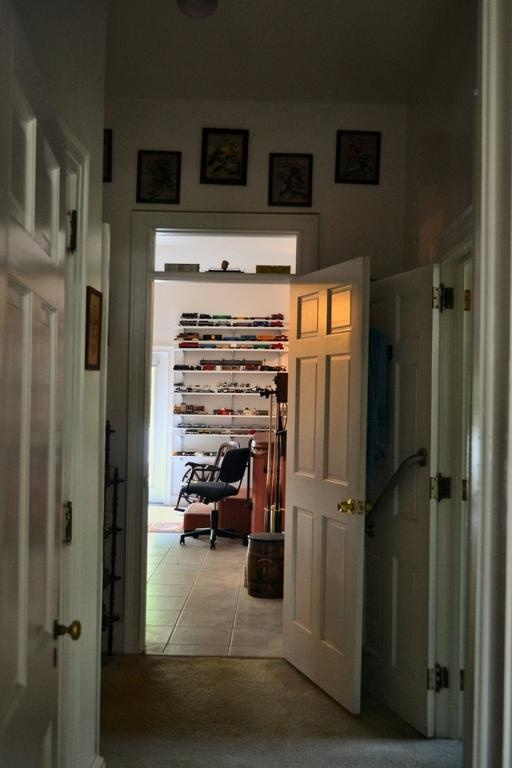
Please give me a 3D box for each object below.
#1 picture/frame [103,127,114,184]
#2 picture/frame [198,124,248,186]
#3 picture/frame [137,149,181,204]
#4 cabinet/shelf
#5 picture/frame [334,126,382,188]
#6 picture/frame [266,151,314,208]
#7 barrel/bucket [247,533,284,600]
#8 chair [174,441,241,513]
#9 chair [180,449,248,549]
[{"bbox_3d":[-0.816,-1.257,3.758,0.051,0.315,0.034,0,-2,9],"label":"picture/frame"},{"bbox_3d":[-0.175,-1.251,3.759,0.249,0.009,0.342,-3,-39,-9],"label":"picture/frame"},{"bbox_3d":[-0.531,-1.137,3.769,0.244,0.362,0.016,0,-23,-8],"label":"picture/frame"},{"bbox_3d":[-0.351,-0.126,8.599,1.193,1.812,0.456,0,-3,-2],"label":"cabinet/shelf"},{"bbox_3d":[0.564,-1.240,3.750,0.240,0.352,0.016,3,-20,7],"label":"picture/frame"},{"bbox_3d":[0.194,-1.129,3.764,0.230,0.021,0.322,1,-42,1],"label":"picture/frame"},{"bbox_3d":[0.083,1.255,4.775,0.300,0.408,0.339,1,0,-5],"label":"barrel/bucket"},{"bbox_3d":[-0.599,0.977,7.412,0.434,0.759,0.491,10,0,-13],"label":"chair"},{"bbox_3d":[-0.389,1.086,6.638,0.658,0.908,0.707,0,-2,9],"label":"chair"}]
